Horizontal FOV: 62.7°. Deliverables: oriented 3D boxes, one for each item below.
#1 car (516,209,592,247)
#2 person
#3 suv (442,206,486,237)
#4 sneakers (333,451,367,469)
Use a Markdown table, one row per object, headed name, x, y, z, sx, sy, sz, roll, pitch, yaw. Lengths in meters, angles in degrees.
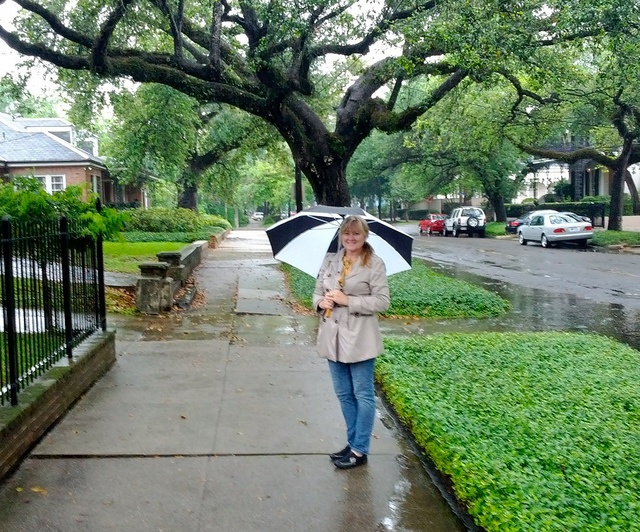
| name | x | y | z | sx | sy | sz | roll | pitch | yaw |
| --- | --- | --- | --- | --- | --- | --- | --- | --- | --- |
| car | 13.121 | -1.973 | 29.409 | 1.773 | 1.935 | 3.886 | 1 | 7 | -21 |
| person | 0.236 | 0.631 | 4.474 | 0.639 | 2.111 | 0.422 | 5 | 6 | 14 |
| suv | 11.348 | -3.486 | 41.381 | 1.692 | 1.673 | 3.656 | 0 | 9 | -2 |
| sneakers | 0.252 | 1.635 | 4.470 | 0.305 | 0.135 | 0.115 | 0 | -1 | -6 |
